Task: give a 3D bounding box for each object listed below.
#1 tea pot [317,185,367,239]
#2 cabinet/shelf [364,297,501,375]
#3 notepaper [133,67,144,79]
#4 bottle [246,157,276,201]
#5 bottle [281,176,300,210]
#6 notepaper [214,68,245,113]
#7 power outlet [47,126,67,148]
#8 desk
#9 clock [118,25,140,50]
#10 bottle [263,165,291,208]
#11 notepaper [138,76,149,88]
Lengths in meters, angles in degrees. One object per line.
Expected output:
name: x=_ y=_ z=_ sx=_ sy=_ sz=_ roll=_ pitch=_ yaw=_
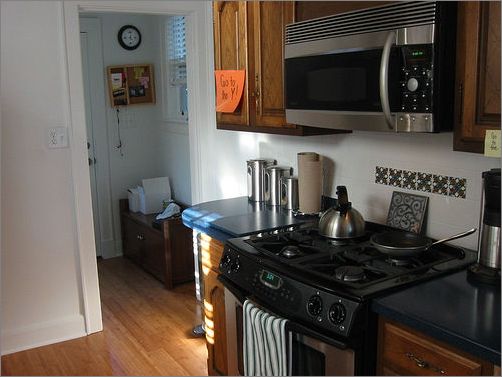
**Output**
tea pot: x=0.469 y=0.142 z=2.033 sx=0.197 sy=0.289 sz=0.218 roll=19 pitch=24 yaw=41
cabinet/shelf: x=0.579 y=0.601 z=1.334 sx=0.086 sy=0.182 sz=0.379 roll=-14 pitch=17 yaw=-43
notepaper: x=-1.374 y=-1.400 z=4.643 sx=0.132 sy=0.159 sz=0.021 roll=-6 pitch=18 yaw=-24
bottle: x=0.067 y=-0.089 z=2.840 sx=0.107 sy=0.318 sz=0.177 roll=-11 pitch=19 yaw=-32
bottle: x=0.259 y=0.034 z=2.551 sx=0.118 sy=0.217 sz=0.058 roll=2 pitch=13 yaw=19
notepaper: x=-0.134 y=-0.715 z=2.781 sx=0.104 sy=0.312 sz=0.242 roll=-14 pitch=22 yaw=-38
power outlet: x=-1.514 y=-0.402 z=2.959 sx=0.153 sy=0.175 sz=0.023 roll=-3 pitch=9 yaw=-24
desk: x=-1.067 y=0.568 z=4.280 sx=0.339 sy=0.710 sz=1.127 roll=-13 pitch=16 yaw=-39
clock: x=-1.451 y=-1.803 z=4.579 sx=0.260 sy=0.270 sz=0.061 roll=-4 pitch=13 yaw=-40
bottle: x=0.186 y=-0.029 z=2.696 sx=0.112 sy=0.288 sz=0.164 roll=-11 pitch=20 yaw=-37
notepaper: x=-1.312 y=-1.301 z=4.685 sx=0.114 sy=0.139 sz=0.017 roll=-8 pitch=13 yaw=-24
